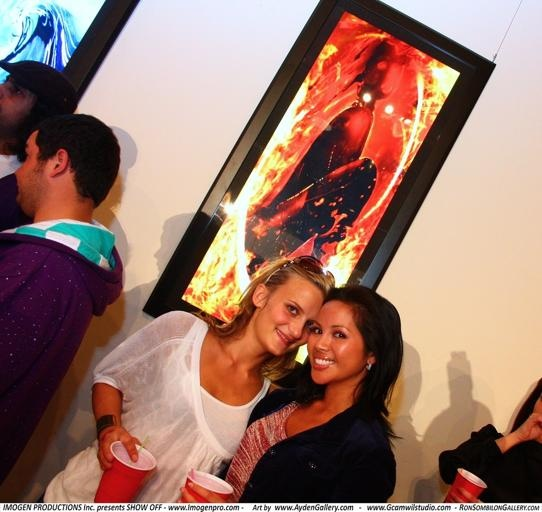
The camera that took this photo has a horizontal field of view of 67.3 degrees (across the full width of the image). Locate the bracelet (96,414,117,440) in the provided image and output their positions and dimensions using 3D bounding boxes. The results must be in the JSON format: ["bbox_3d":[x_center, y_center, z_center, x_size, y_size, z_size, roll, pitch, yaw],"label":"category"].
[{"bbox_3d":[-0.529,0.540,1.298,0.049,0.070,0.069,8,7,-12],"label":"bracelet"}]

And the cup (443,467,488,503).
[{"bbox_3d":[0.633,0.781,1.335,0.088,0.121,0.138,27,-2,33],"label":"cup"}]

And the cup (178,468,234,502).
[{"bbox_3d":[-0.173,0.626,1.145,0.112,0.095,0.127,16,-11,-7],"label":"cup"}]
